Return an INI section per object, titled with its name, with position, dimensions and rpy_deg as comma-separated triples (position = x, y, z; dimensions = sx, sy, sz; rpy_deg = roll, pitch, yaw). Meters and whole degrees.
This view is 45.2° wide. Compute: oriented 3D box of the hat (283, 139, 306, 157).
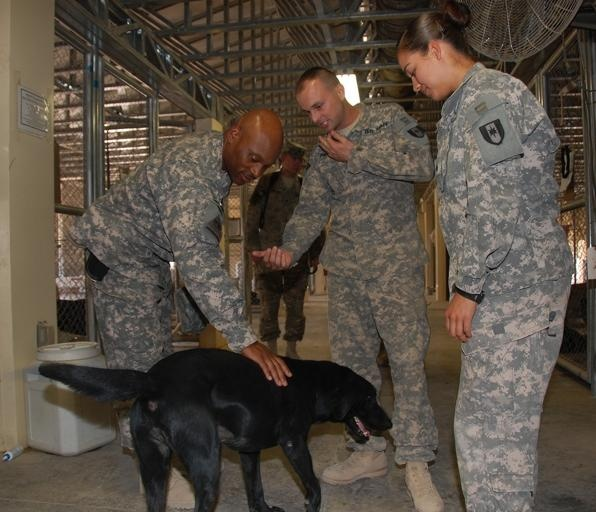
[hat]
position = -0.049, -0.932, 6.274
dimensions = 0.160, 0.086, 0.153
rpy_deg = 13, 6, -8

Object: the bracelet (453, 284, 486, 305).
[bracelet]
position = 0.664, 0.150, 2.803
dimensions = 0.079, 0.028, 0.077
rpy_deg = 15, 3, -27

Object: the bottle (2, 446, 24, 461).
[bottle]
position = -1.729, 1.169, 4.262
dimensions = 0.073, 0.054, 0.152
rpy_deg = 10, 6, 11

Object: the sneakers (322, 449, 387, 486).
[sneakers]
position = 0.309, 1.126, 3.942
dimensions = 0.423, 0.184, 0.136
rpy_deg = -3, 19, -12
